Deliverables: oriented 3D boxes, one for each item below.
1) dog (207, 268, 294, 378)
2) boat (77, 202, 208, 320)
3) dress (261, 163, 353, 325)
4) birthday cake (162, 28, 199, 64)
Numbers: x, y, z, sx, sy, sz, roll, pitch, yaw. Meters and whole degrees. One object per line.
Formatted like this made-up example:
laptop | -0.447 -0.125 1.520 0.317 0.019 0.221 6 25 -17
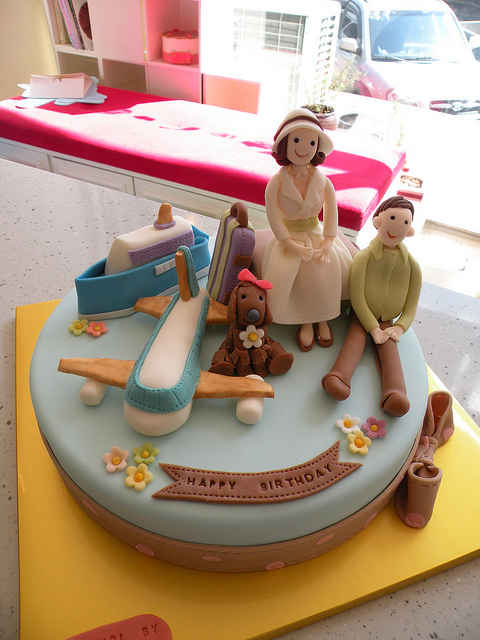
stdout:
dog | 0.021 0.010 0.961 0.178 0.201 0.123 0 21 -10
boat | -0.224 -0.158 1.160 0.361 0.217 0.140 -26 45 -34
dress | 0.124 -0.145 1.100 0.218 0.340 0.232 -5 38 -10
birthday cake | -0.399 -1.835 3.379 0.260 0.166 0.252 -1 47 -2
